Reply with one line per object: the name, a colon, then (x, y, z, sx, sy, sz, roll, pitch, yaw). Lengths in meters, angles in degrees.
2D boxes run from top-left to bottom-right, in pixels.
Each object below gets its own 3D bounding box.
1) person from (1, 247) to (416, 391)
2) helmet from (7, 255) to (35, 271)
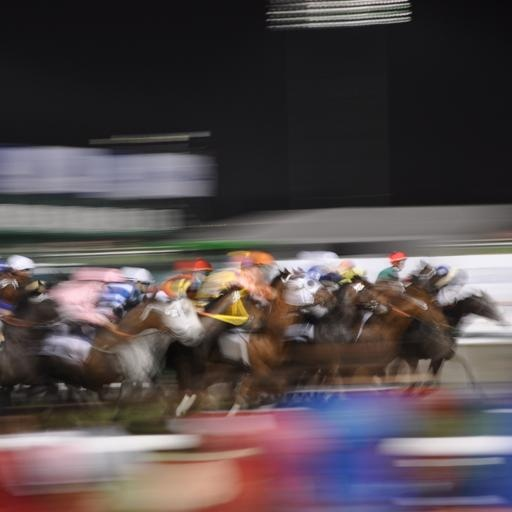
person: (-0.265, 0.384, 4.593, 2.697, 0.835, 0.435, -2, 7, -5)
helmet: (-1.369, 0.038, 4.298, 0.140, 0.106, 0.192, -5, 6, -20)
